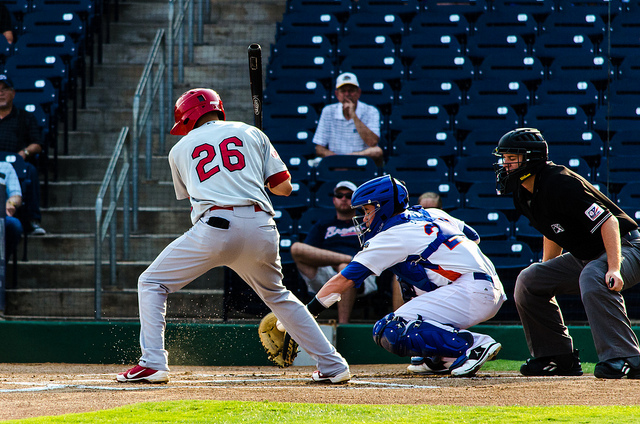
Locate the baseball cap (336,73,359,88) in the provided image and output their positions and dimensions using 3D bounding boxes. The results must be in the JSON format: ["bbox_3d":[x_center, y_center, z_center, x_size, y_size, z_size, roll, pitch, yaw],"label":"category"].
[{"bbox_3d":[0.344,-1.802,18.522,0.291,0.226,0.254,0,-4,1],"label":"baseball cap"}]

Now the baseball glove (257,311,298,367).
[{"bbox_3d":[-0.412,1.437,15.559,0.487,0.604,0.253,-22,7,35],"label":"baseball glove"}]

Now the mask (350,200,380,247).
[{"bbox_3d":[0.509,0.099,15.417,0.296,0.445,0.414,3,3,5],"label":"mask"}]

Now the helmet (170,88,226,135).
[{"bbox_3d":[-1.408,-1.088,15.305,0.622,0.415,0.464,-39,-20,18],"label":"helmet"}]

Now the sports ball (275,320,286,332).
[{"bbox_3d":[-0.456,1.303,15.341,0.126,0.073,0.111,-2,-3,-6],"label":"sports ball"}]
